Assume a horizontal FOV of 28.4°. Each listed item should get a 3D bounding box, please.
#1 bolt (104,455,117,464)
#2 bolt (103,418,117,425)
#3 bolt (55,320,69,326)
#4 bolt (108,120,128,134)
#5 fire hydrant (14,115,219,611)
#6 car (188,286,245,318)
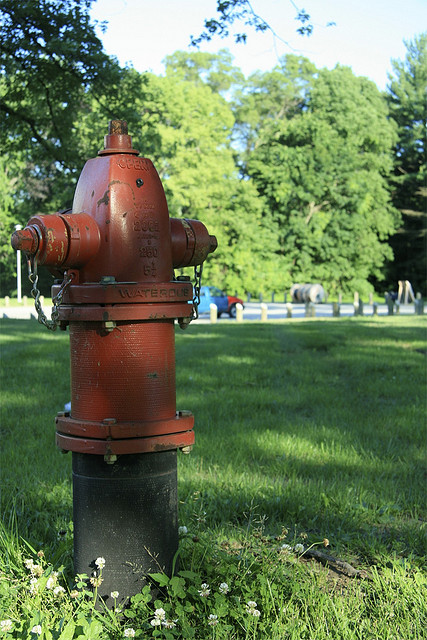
[{"bbox_3d":[-0.403,0.547,3.281,0.039,0.034,0.040,-2,-4,28],"label":"bolt"},{"bbox_3d":[-0.407,0.401,3.325,0.066,0.021,0.048,-1,5,-24],"label":"bolt"},{"bbox_3d":[-0.632,0.013,3.479,0.032,0.025,0.031,0,2,5],"label":"bolt"},{"bbox_3d":[-0.396,-0.797,3.484,0.077,0.051,0.074,-6,15,-31],"label":"bolt"},{"bbox_3d":[-0.436,0.200,3.576,0.838,2.052,0.790,1,5,2],"label":"fire hydrant"},{"bbox_3d":[0.078,-0.630,28.687,1.788,0.660,0.808,-3,5,-21],"label":"car"}]
